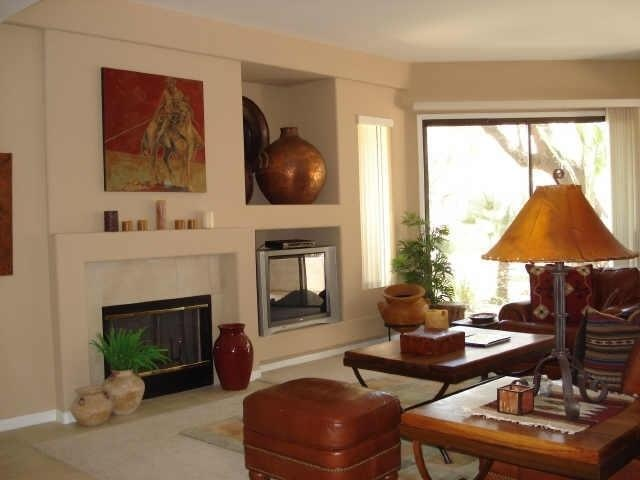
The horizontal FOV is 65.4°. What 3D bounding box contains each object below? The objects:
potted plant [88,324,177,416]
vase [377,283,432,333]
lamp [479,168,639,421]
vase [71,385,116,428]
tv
[{"bbox_3d":[-1.642,1.070,4.373,0.759,0.636,0.689,1,-1,-41],"label":"potted plant"},{"bbox_3d":[0.988,0.833,5.904,0.653,0.487,0.533,-2,17,10],"label":"vase"},{"bbox_3d":[1.003,0.212,2.104,0.590,0.918,0.458,-3,1,16],"label":"lamp"},{"bbox_3d":[-1.802,1.323,3.936,0.333,0.244,0.334,1,1,39],"label":"vase"},{"bbox_3d":[-0.351,0.562,5.729,0.451,0.908,1.208,-2,0,43],"label":"tv"}]
